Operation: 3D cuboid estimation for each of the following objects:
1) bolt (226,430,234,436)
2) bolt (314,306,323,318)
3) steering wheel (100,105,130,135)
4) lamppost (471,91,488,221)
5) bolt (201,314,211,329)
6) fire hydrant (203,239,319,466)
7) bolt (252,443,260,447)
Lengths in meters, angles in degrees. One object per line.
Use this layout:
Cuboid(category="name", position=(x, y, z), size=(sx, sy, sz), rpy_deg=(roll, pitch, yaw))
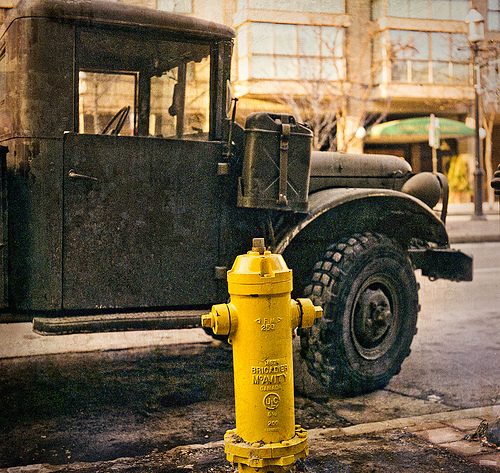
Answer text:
Cuboid(category="bolt", position=(-0.131, 1.280, 8.208), size=(0.050, 0.041, 0.055), rpy_deg=(-1, 0, 2))
Cuboid(category="bolt", position=(0.453, 0.498, 8.300), size=(0.043, 0.070, 0.063), rpy_deg=(5, -2, -13))
Cuboid(category="steering wheel", position=(-0.984, -0.863, 9.250), size=(0.081, 0.210, 0.273), rpy_deg=(2, 4, 32))
Cuboid(category="lamppost", position=(3.691, -1.390, 20.508), size=(0.286, 2.054, 0.328), rpy_deg=(-2, 5, -1))
Cuboid(category="bolt", position=(-0.280, 0.546, 8.105), size=(0.053, 0.083, 0.076), rpy_deg=(0, 0, -7))
Cuboid(category="fire hydrant", position=(0.068, 0.736, 8.144), size=(0.692, 1.446, 0.293), rpy_deg=(0, 3, 0))
Cuboid(category="bolt", position=(0.037, 1.334, 8.057), size=(0.025, 0.011, 0.022), rpy_deg=(-3, -2, -6))
